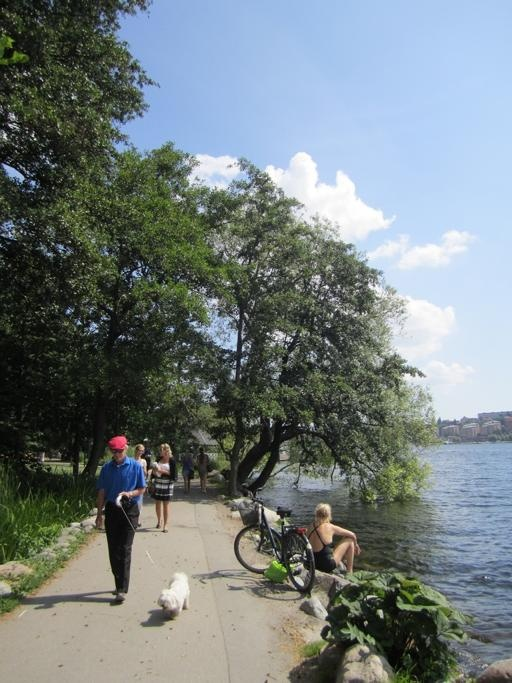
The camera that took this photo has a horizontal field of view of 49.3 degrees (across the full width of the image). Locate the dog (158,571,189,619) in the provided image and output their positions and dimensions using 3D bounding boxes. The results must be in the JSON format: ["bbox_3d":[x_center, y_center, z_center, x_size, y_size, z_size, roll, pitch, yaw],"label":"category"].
[{"bbox_3d":[-0.954,2.938,6.461,0.243,0.302,0.839,8,1,7],"label":"dog"}]

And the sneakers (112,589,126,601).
[{"bbox_3d":[-1.607,3.012,6.607,0.137,0.112,0.245,6,-10,-10],"label":"sneakers"}]

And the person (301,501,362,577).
[{"bbox_3d":[1.044,2.778,7.730,0.687,1.079,0.631,-4,-1,36],"label":"person"}]

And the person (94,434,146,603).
[{"bbox_3d":[-1.680,2.147,6.869,0.573,1.897,0.632,8,-10,-20],"label":"person"}]
